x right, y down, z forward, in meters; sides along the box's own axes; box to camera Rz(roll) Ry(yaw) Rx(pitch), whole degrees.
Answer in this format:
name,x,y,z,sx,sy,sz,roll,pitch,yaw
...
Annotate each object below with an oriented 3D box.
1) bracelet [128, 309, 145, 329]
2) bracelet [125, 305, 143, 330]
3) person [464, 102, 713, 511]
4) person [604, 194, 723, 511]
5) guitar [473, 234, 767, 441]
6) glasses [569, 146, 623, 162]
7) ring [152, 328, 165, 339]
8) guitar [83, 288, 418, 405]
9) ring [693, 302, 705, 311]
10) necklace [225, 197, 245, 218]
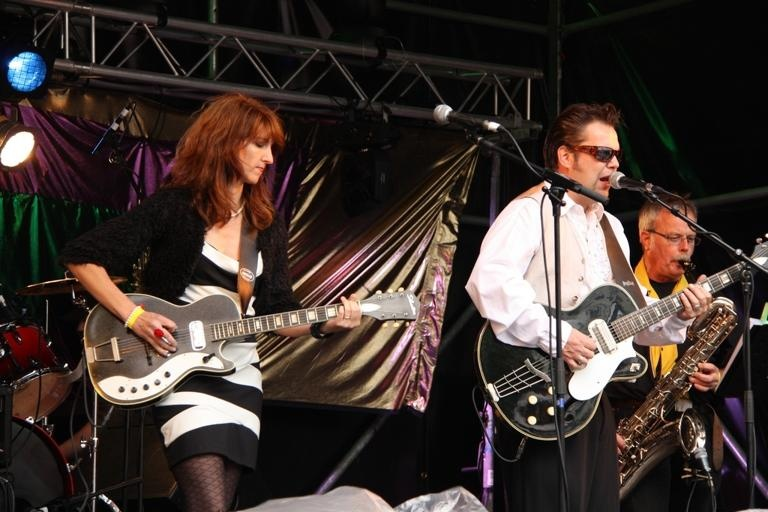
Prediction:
name,x,y,z,sx,sy,sz,roll,pitch,yaw
bracelet,-1.421,0.341,4.250,0.038,0.107,0.086,37,-42,-2
bracelet,-1.418,0.336,4.259,0.040,0.114,0.103,38,-37,-2
person,1.231,0.309,4.686,1.358,2.619,0.678,9,-7,-29
person,2.126,0.675,5.971,0.926,2.414,0.261,14,10,12
guitar,1.572,0.546,5.002,1.535,0.574,0.211,-24,2,-13
glasses,1.338,-0.647,4.722,0.157,0.048,0.162,11,1,27
ring,-1.280,0.431,4.216,0.055,0.054,0.015,-7,-3,-4
guitar,-0.935,0.599,4.992,1.000,0.399,0.925,-6,-13,-28
ring,1.986,0.317,4.713,0.043,0.018,0.057,-17,-30,-13
necklace,-0.894,-0.282,4.478,0.021,0.091,0.095,21,-36,10
